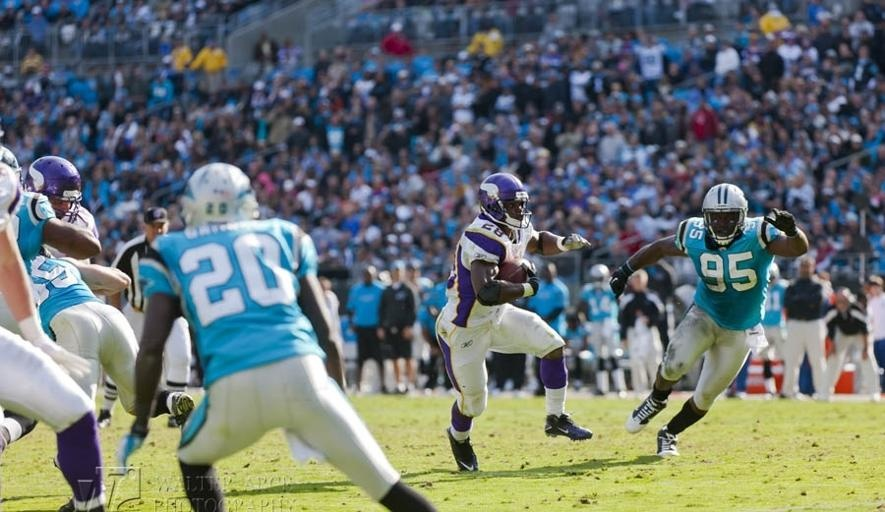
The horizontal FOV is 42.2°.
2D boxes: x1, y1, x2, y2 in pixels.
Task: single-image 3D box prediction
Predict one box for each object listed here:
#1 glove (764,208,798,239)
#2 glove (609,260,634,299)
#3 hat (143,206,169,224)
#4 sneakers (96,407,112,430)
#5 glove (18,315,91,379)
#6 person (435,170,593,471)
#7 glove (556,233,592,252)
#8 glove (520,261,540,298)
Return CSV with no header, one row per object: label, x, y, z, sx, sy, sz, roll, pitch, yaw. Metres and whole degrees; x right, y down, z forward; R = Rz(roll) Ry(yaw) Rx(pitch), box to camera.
glove,3.916,-0.490,13.275,0.349,0.277,0.112,19,52,14
glove,2.158,0.282,14.043,0.133,0.318,0.421,6,49,52
hat,-3.882,-0.626,15.580,0.328,0.223,0.449,-1,-9,-26
sneakers,-4.575,2.219,15.668,0.132,0.262,0.382,1,-14,-15
glove,-3.797,0.873,11.273,0.678,0.619,0.226,0,3,18
person,0.701,0.744,13.569,1.147,3.494,1.275,2,4,44
glove,1.485,-0.181,13.778,0.241,0.157,0.388,-9,7,-33
glove,1.002,0.221,13.183,0.123,0.280,0.354,-9,29,11
